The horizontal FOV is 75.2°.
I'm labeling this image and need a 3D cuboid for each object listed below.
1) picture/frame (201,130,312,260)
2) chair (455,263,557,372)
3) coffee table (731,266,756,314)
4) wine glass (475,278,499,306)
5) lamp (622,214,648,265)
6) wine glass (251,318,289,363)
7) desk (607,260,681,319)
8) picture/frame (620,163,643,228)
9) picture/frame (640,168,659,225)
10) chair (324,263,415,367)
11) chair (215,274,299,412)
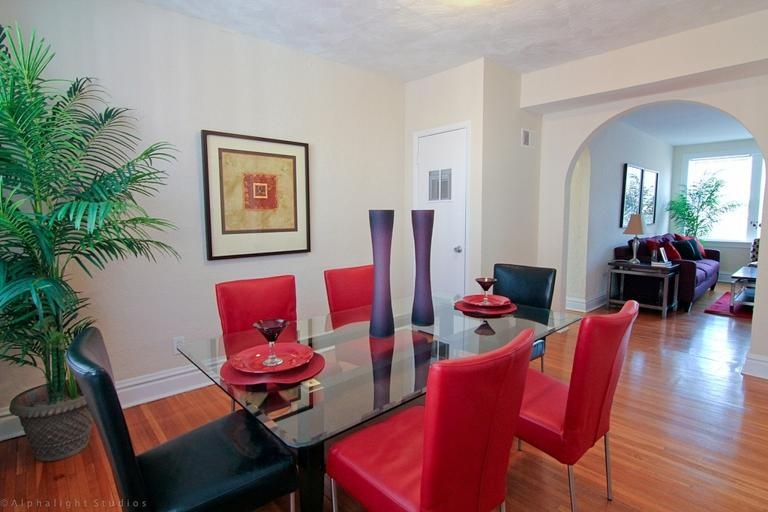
[{"bbox_3d":[-1.239,-0.593,4.674,1.260,1.298,0.093,-3,3,-38],"label":"picture/frame"},{"bbox_3d":[1.084,0.482,4.038,0.659,0.926,0.691,1,-15,36],"label":"chair"},{"bbox_3d":[4.817,0.461,6.679,0.227,0.285,0.598,5,13,44],"label":"coffee table"},{"bbox_3d":[0.767,0.266,3.855,0.185,0.214,0.192,-2,5,-5],"label":"wine glass"},{"bbox_3d":[3.449,-0.271,6.896,0.186,0.644,0.867,2,8,27],"label":"lamp"},{"bbox_3d":[-0.684,0.520,3.032,0.211,0.246,0.222,-9,-5,43],"label":"wine glass"},{"bbox_3d":[3.507,0.402,6.749,0.757,0.628,0.500,8,9,43],"label":"desk"},{"bbox_3d":[3.673,-0.929,7.434,0.078,1.175,1.028,5,10,38],"label":"picture/frame"},{"bbox_3d":[4.370,-1.026,8.232,0.055,1.200,1.036,3,9,39],"label":"picture/frame"},{"bbox_3d":[-0.212,0.446,3.912,0.581,0.803,0.596,-13,-12,22],"label":"chair"},{"bbox_3d":[-0.842,0.703,3.684,0.747,0.979,0.771,1,15,-2],"label":"chair"}]
